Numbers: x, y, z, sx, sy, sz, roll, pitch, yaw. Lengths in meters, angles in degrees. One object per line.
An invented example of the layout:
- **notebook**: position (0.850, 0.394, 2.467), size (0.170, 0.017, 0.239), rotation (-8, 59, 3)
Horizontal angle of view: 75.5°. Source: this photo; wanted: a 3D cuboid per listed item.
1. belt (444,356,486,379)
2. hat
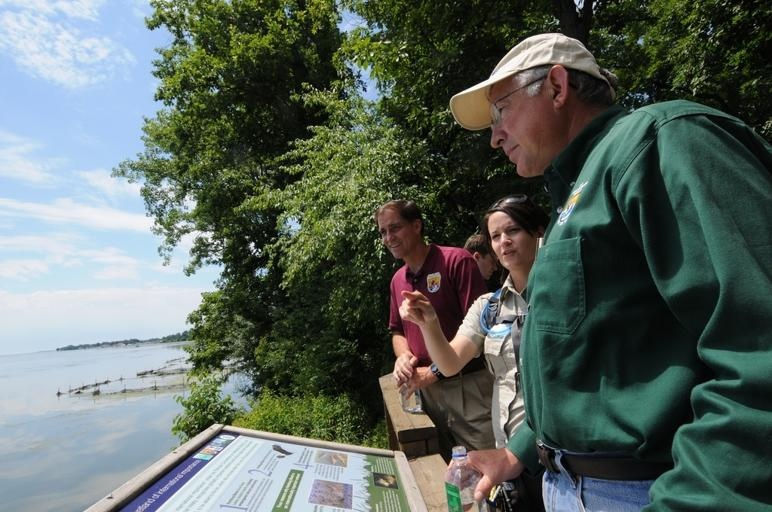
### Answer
- **belt**: position (0.563, 0.759, 3.439), size (0.217, 0.085, 0.171), rotation (-17, -9, 4)
- **hat**: position (0.587, -0.739, 2.158), size (0.594, 0.326, 0.445), rotation (-2, -19, 17)
